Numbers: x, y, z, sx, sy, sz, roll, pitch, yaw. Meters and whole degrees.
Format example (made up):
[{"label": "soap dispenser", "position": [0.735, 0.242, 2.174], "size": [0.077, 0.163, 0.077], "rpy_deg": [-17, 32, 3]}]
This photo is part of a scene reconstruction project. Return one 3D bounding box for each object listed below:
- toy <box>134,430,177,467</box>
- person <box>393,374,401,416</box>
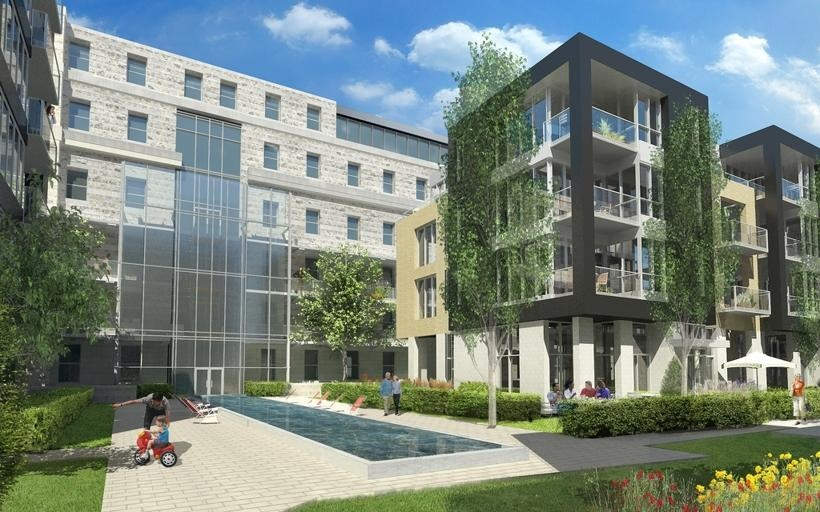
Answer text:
[{"label": "toy", "position": [-9.917, 7.720, 27.049], "size": [1.768, 1.367, 1.073], "rpy_deg": [5, -15, -11]}, {"label": "person", "position": [-0.755, 8.099, 39.462], "size": [0.474, 1.946, 1.035], "rpy_deg": [-1, 0, -2]}]
